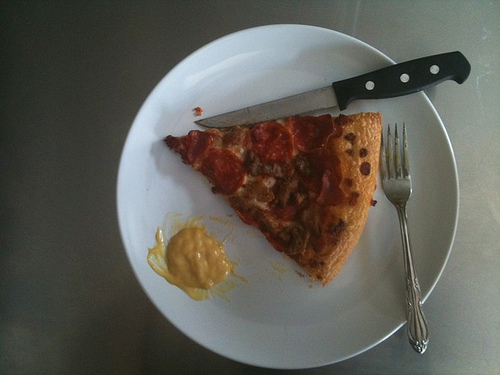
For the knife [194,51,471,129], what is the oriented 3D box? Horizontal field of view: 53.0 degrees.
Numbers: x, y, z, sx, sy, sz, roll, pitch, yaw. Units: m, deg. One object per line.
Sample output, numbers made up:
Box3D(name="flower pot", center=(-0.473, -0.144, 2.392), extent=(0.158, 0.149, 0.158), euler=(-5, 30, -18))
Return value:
Box3D(name="knife", center=(0.643, -0.659, 3.511), extent=(1.769, 0.225, 0.221), euler=(-13, 87, -3))
